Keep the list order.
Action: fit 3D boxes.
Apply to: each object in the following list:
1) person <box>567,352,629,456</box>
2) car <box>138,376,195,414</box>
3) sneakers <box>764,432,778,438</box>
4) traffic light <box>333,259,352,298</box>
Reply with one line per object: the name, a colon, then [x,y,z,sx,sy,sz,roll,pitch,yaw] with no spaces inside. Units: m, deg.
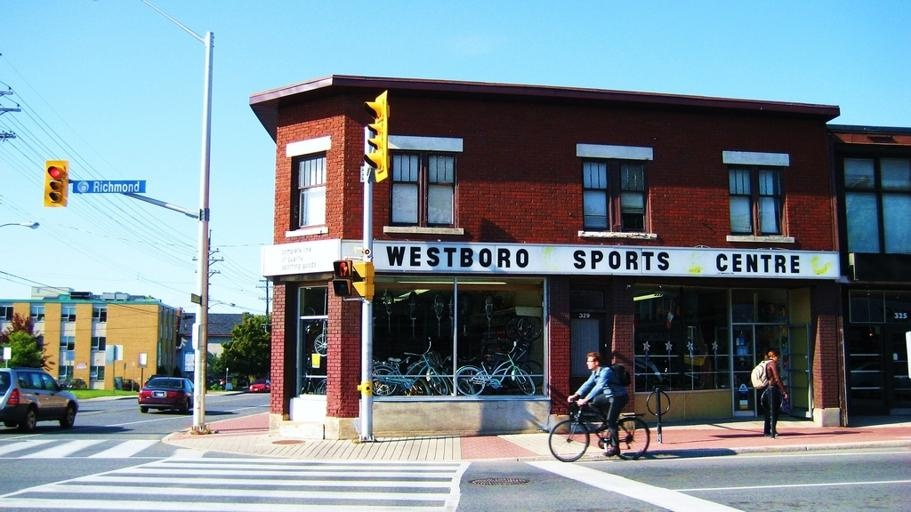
person: [4.739,4.809,29.437,1.537,3.299,0.761,-1,2,6]
car: [-14.835,7.247,46.951,2.227,1.901,2.325,-1,2,-4]
sneakers: [11.055,6.265,31.991,0.450,0.170,0.157,3,-6,10]
traffic light: [-3.856,0.737,30.997,0.618,1.217,0.507,-1,2,-7]
